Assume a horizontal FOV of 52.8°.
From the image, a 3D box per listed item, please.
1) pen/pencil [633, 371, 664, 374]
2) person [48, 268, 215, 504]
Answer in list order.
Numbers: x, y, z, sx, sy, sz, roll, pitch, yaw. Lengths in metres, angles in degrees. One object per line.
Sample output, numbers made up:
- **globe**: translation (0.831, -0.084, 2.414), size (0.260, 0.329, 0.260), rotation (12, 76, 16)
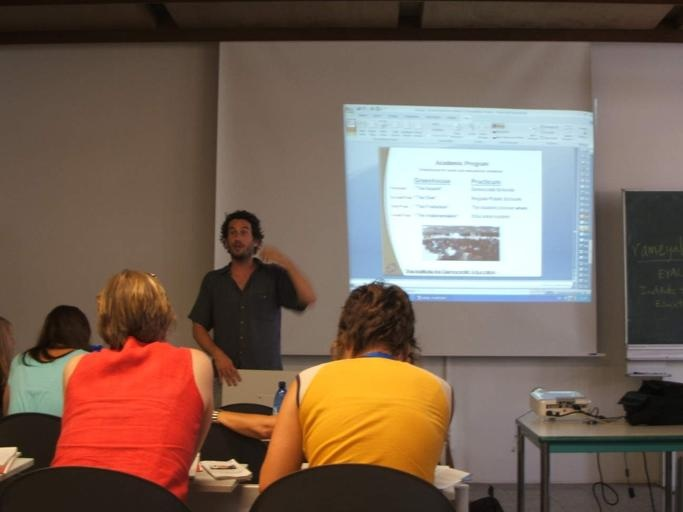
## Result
- **pen/pencil**: translation (2.415, 0.914, 5.373), size (0.217, 0.026, 0.017), rotation (0, -2, -1)
- **person**: translation (-0.939, 0.573, 3.097), size (0.688, 1.021, 0.296), rotation (1, -2, -18)
